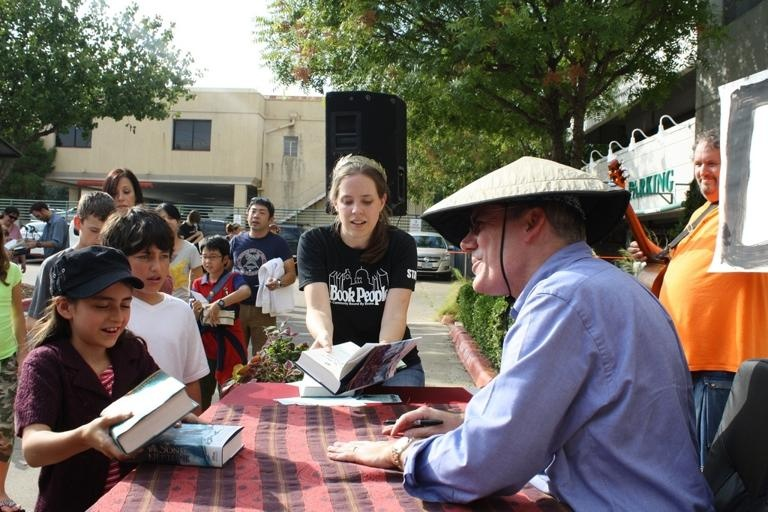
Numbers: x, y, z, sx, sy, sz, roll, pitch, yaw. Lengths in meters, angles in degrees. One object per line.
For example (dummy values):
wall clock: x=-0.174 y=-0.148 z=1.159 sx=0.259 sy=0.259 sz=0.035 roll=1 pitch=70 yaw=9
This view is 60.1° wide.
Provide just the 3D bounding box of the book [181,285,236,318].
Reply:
book: x=-1.770 y=0.433 z=6.416 sx=0.313 sy=0.120 sz=0.322 roll=24 pitch=-5 yaw=-8

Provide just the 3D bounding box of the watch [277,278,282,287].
watch: x=-1.164 y=0.290 z=7.410 sx=0.044 sy=0.067 sz=0.073 roll=-4 pitch=-35 yaw=-5

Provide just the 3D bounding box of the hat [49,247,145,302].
hat: x=-1.632 y=0.083 z=3.694 sx=0.409 sy=0.168 sz=0.304 roll=-2 pitch=4 yaw=32

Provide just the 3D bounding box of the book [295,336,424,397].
book: x=-0.203 y=0.678 z=4.087 sx=0.381 sy=0.273 sz=0.648 roll=0 pitch=7 yaw=-28

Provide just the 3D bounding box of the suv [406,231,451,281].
suv: x=1.246 y=0.080 z=16.901 sx=1.311 sy=1.344 sz=3.028 roll=-1 pitch=-7 yaw=5

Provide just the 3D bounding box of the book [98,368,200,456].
book: x=-1.225 y=0.753 z=3.382 sx=0.365 sy=0.131 sz=0.347 roll=-32 pitch=35 yaw=-25

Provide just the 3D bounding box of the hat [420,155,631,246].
hat: x=0.773 y=-0.316 z=3.667 sx=1.080 sy=0.415 sz=0.870 roll=-1 pitch=-20 yaw=22
